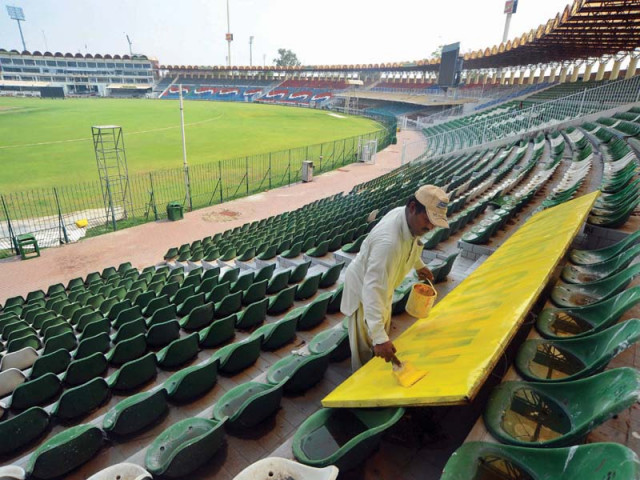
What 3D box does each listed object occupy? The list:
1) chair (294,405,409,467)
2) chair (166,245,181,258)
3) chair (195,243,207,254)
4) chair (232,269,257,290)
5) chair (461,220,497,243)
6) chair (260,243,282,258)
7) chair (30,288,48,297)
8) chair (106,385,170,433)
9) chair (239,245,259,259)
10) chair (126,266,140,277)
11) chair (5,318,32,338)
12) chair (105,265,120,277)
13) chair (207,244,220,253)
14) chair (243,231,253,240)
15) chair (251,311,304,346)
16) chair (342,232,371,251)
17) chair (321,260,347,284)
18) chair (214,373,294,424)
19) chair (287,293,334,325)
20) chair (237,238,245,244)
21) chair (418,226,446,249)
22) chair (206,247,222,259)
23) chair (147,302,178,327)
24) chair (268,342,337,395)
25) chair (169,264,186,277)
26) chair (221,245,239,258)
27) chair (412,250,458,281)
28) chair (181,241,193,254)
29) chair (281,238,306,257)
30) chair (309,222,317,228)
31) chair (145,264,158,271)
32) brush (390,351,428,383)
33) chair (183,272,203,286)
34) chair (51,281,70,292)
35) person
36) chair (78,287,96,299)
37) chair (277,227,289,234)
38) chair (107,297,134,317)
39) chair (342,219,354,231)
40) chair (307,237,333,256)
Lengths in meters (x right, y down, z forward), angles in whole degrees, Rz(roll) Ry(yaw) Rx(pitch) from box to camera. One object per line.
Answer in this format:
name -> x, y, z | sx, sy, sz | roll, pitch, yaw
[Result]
chair -> 0.274, 1.628, 3.432 | 0.864, 0.279, 0.579 | -12, -3, -28
chair -> -4.514, 0.365, 12.407 | 0.308, 0.184, 0.456 | 20, 31, 13
chair -> -3.472, 0.250, 11.670 | 0.337, 0.205, 0.238 | 10, -6, -38
chair -> -1.465, 0.710, 7.637 | 0.450, 0.399, 0.363 | -22, 42, -36
chair -> 2.822, -0.175, 7.249 | 0.475, 0.316, 0.635 | 10, 23, 37
chair -> -1.246, 0.277, 9.849 | 0.433, 0.310, 0.399 | -18, 27, -34
chair -> -6.826, 1.274, 9.802 | 0.302, 0.368, 0.323 | 1, -7, -42
chair -> -1.979, 1.772, 4.436 | 0.449, 0.217, 0.745 | 12, 12, 20
chair -> -1.800, 0.307, 10.282 | 0.402, 0.314, 0.343 | -8, 15, -35
chair -> -4.849, 0.813, 10.480 | 0.333, 0.353, 0.300 | -1, 47, -12
chair -> -5.405, 1.576, 7.235 | 0.222, 0.222, 0.260 | 28, 33, 30
chair -> -5.604, 0.831, 11.004 | 0.404, 0.319, 0.336 | 17, -12, -41
chair -> -3.003, 0.216, 11.389 | 0.280, 0.317, 0.265 | -24, 56, -21
chair -> -2.158, -0.161, 12.180 | 0.254, 0.107, 0.329 | -3, 14, 11
chair -> -0.592, 1.221, 5.522 | 0.568, 0.320, 0.498 | -17, 23, -34
chair -> 0.735, 0.052, 8.588 | 0.453, 0.338, 0.459 | -23, 29, -37
chair -> 0.165, 0.595, 7.518 | 0.478, 0.337, 0.444 | -14, 23, -32
chair -> -0.729, 1.651, 4.145 | 0.636, 0.377, 0.650 | -21, 16, -28
chair -> -0.172, 1.044, 6.067 | 0.552, 0.394, 0.508 | -18, 28, -29
chair -> -2.300, 0.034, 11.646 | 0.140, 0.101, 0.147 | 14, -15, -22
chair -> 1.742, -0.040, 6.342 | 0.432, 0.135, 0.276 | -38, 30, -27
chair -> -2.881, 0.369, 11.083 | 0.395, 0.297, 0.321 | -18, 22, -36
chair -> -2.473, 1.148, 6.514 | 0.513, 0.370, 0.380 | -10, 27, -36
chair -> -0.194, 1.460, 4.667 | 0.490, 0.570, 0.648 | 13, 0, -2
chair -> -3.293, 0.713, 9.414 | 0.292, 0.410, 0.323 | -22, 55, -35
chair -> -2.424, 0.316, 10.909 | 0.363, 0.319, 0.330 | -10, 19, -38
chair -> 1.620, 0.366, 5.611 | 0.313, 0.331, 0.316 | -27, 42, -15
chair -> -4.147, 0.219, 12.346 | 0.384, 0.449, 0.375 | 0, 5, -18
chair -> -0.607, 0.206, 9.456 | 0.476, 0.335, 0.431 | -17, 24, -36
chair -> -0.222, -0.420, 11.317 | 0.174, 0.106, 0.154 | 0, 29, 20
chair -> -4.395, 0.715, 10.455 | 0.215, 0.247, 0.186 | 26, 30, 29
brush -> 0.727, 1.043, 3.300 | 0.224, 0.112, 0.322 | -6, 17, -5
chair -> -2.615, 0.797, 8.376 | 0.268, 0.368, 0.296 | -22, 51, -39
chair -> -6.412, 1.170, 9.957 | 0.321, 0.355, 0.309 | -5, 9, -41
person -> 0.755, 0.434, 3.782 | 0.936, 1.892, 0.841 | -12, 23, -15
chair -> -5.125, 1.179, 8.889 | 0.266, 0.301, 0.245 | -11, -6, 42
chair -> -1.065, -0.266, 11.471 | 0.219, 0.187, 0.166 | 14, 31, 28
chair -> -3.636, 1.215, 7.445 | 0.334, 0.315, 0.406 | 22, 22, 35
chair -> 0.699, -0.387, 10.315 | 0.246, 0.286, 0.234 | -29, 44, -30
chair -> -0.027, 0.155, 9.056 | 0.443, 0.321, 0.418 | -14, 25, -27
